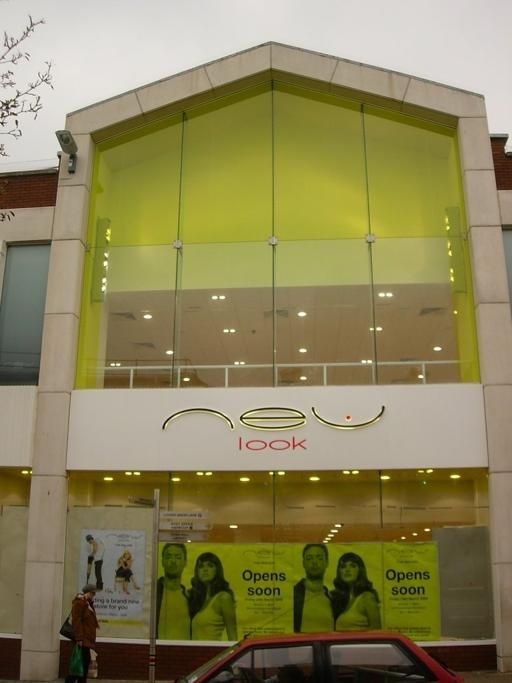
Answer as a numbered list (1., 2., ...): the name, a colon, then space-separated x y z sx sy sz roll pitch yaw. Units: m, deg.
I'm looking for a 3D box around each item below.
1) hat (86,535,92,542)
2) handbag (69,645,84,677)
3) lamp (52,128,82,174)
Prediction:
1. hat: -2.969 3.505 11.325 0.111 0.107 0.079 28 -36 -37
2. handbag: -2.411 4.250 8.491 0.238 0.406 0.163 -1 -7 36
3. lamp: -3.861 -3.971 13.010 0.348 0.954 0.784 3 -5 -6
